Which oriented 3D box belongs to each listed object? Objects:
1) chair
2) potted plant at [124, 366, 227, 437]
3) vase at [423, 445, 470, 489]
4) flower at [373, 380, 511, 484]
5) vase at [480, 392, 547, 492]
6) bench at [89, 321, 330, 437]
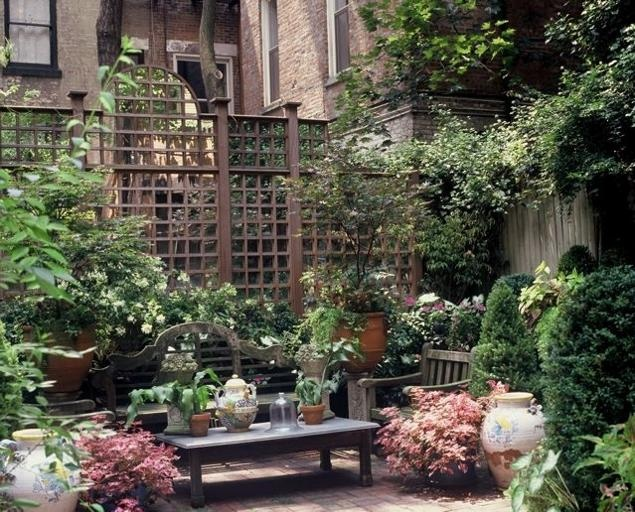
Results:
[{"bbox_3d":[0.929,1.393,6.633,0.814,1.128,0.845,2,-3,-24],"label":"chair"},{"bbox_3d":[-1.113,1.112,5.804,0.635,0.402,0.781,1,-9,-1],"label":"potted plant"},{"bbox_3d":[1.061,1.712,5.629,0.374,0.262,0.367,1,-4,-28],"label":"vase"},{"bbox_3d":[0.937,1.405,5.790,0.914,0.621,0.948,-1,-1,25],"label":"flower"},{"bbox_3d":[1.545,1.432,5.522,0.542,0.639,0.561,-8,-8,37],"label":"vase"},{"bbox_3d":[-1.028,1.119,6.576,2.050,0.853,0.536,-1,12,-22],"label":"bench"}]
